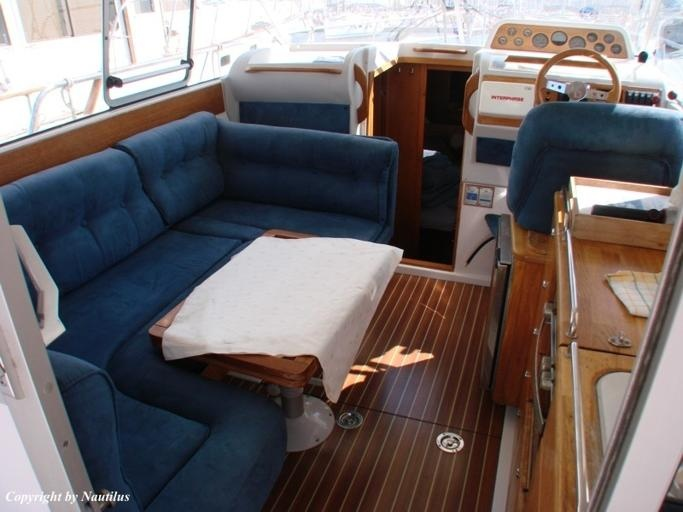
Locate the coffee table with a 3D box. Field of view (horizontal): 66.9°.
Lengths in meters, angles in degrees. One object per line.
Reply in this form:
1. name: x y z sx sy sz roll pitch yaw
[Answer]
1. coffee table: -0.234 0.177 2.083 0.718 0.276 0.885 15 29 19
